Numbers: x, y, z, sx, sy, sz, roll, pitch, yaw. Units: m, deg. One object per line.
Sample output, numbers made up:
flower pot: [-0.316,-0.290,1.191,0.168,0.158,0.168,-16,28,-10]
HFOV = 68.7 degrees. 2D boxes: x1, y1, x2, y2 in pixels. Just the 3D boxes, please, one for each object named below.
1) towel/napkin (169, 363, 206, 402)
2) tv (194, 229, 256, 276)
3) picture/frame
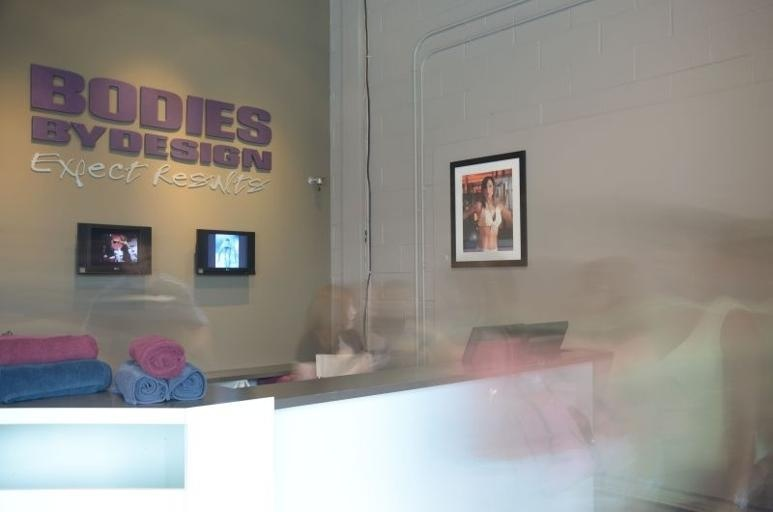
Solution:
towel/napkin: [-0.538,0.345,1.556,0.092,0.082,0.094,-1,3,-7]
tv: [-0.732,-0.017,2.627,0.264,0.204,0.021,0,0,2]
picture/frame: [0.454,-0.203,2.452,0.459,0.618,0.040,-4,-6,44]
